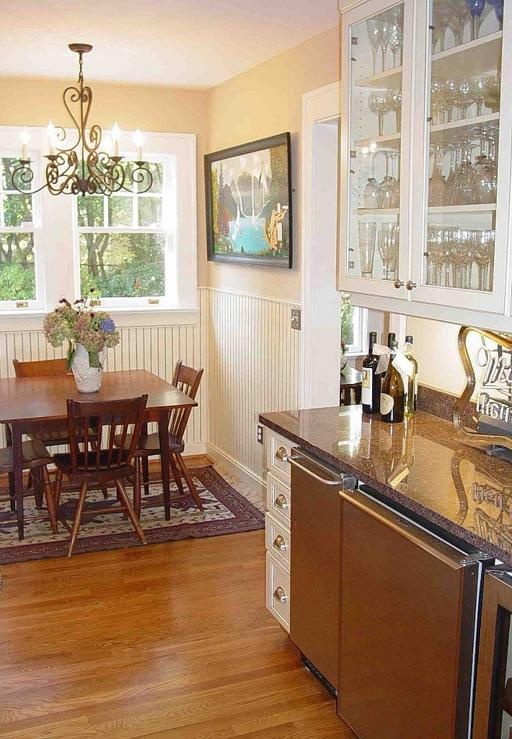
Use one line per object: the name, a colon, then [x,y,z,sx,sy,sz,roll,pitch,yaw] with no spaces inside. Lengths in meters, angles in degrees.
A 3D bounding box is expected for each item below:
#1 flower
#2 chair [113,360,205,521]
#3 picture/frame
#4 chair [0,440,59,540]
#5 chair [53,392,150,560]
flower: [-1.023,-0.214,3.375,0.350,0.412,0.336,-7,-29,-24]
chair: [-0.612,0.478,3.835,0.454,0.928,0.454,-1,-5,1]
picture/frame: [-0.036,-1.104,3.871,0.045,0.791,1.065,11,21,33]
chair: [-1.368,0.684,3.388,0.305,0.564,0.514,-3,7,-21]
chair: [-0.901,0.557,3.230,0.418,0.825,0.515,-1,6,-19]
